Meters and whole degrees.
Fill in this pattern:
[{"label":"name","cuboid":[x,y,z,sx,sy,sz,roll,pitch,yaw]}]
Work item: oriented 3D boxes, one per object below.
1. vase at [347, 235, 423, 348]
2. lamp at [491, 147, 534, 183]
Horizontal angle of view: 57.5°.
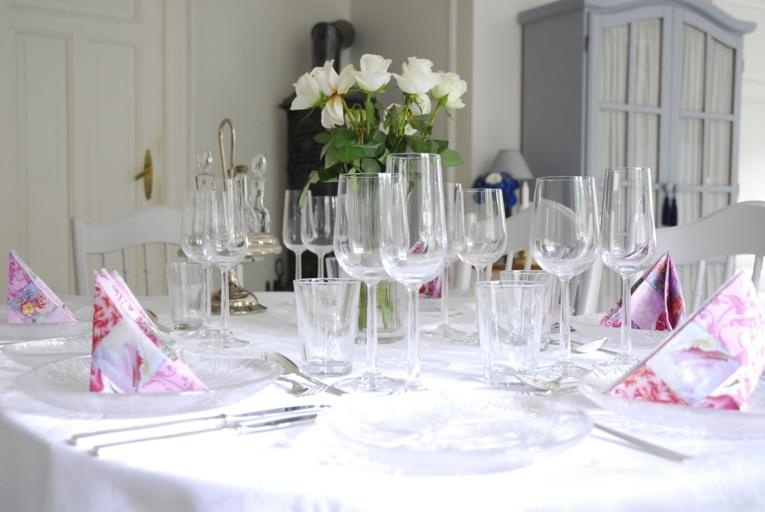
[{"label":"vase","cuboid":[0.008,0.082,1.402,0.149,0.278,0.157,1,4,1]},{"label":"lamp","cuboid":[0.732,-0.513,3.956,0.166,0.128,0.201,-2,8,-11]}]
